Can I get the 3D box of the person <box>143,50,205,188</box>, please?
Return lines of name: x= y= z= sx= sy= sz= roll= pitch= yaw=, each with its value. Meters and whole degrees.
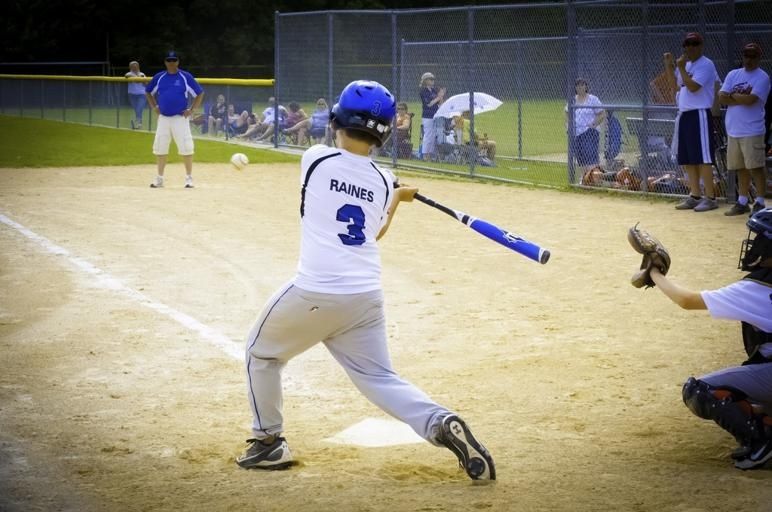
person: x=-3.611 y=-2.319 z=16.363 sx=0.897 sy=2.279 sz=1.521 roll=0 pitch=7 yaw=-13

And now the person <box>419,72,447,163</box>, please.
person: x=0.982 y=-2.709 z=19.143 sx=0.597 sy=1.615 sz=0.553 roll=-2 pitch=3 yaw=19

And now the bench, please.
bench: x=4.538 y=-2.008 z=15.611 sx=1.222 sy=0.771 sz=0.671 roll=24 pitch=33 yaw=36

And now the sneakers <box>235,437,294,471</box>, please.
sneakers: x=-1.018 y=1.570 z=7.744 sx=0.584 sy=0.250 sz=0.245 roll=-11 pitch=1 yaw=35

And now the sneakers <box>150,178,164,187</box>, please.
sneakers: x=-3.780 y=-1.203 z=15.873 sx=0.214 sy=0.172 sz=0.318 roll=-1 pitch=7 yaw=-17

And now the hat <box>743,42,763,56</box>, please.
hat: x=5.090 y=-2.842 z=13.418 sx=0.175 sy=0.182 sz=0.218 roll=8 pitch=10 yaw=43

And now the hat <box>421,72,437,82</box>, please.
hat: x=0.840 y=-3.475 z=18.842 sx=0.251 sy=0.095 sz=0.275 roll=0 pitch=2 yaw=-6

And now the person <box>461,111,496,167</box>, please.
person: x=1.916 y=-2.372 z=19.925 sx=0.598 sy=0.810 sz=0.921 roll=-1 pitch=5 yaw=24

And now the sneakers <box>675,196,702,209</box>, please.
sneakers: x=4.496 y=-0.795 z=14.383 sx=0.444 sy=0.156 sz=0.151 roll=-5 pitch=19 yaw=4

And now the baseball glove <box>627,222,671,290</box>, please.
baseball glove: x=2.122 y=0.022 z=7.754 sx=0.413 sy=0.521 sz=0.360 roll=-9 pitch=10 yaw=-39
